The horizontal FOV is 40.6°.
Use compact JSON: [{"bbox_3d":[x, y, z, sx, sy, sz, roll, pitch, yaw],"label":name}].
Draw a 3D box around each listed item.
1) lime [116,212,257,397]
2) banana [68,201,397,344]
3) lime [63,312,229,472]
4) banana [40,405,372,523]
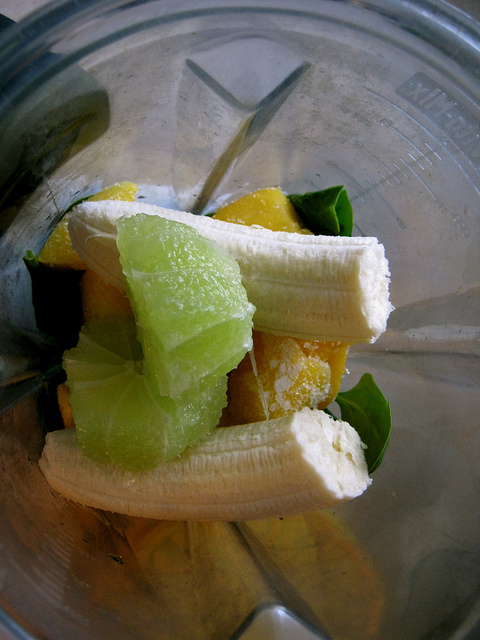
[{"bbox_3d":[-0.046,-0.019,0.592,0.107,0.119,0.141,-10,43,-10],"label":"lime"},{"bbox_3d":[0.048,-0.040,0.728,0.484,0.139,0.113,7,78,2],"label":"banana"},{"bbox_3d":[-0.085,0.076,0.731,0.226,0.136,0.167,-5,20,-9],"label":"lime"},{"bbox_3d":[-0.062,0.156,0.759,0.440,0.124,0.123,-10,47,38],"label":"banana"}]
